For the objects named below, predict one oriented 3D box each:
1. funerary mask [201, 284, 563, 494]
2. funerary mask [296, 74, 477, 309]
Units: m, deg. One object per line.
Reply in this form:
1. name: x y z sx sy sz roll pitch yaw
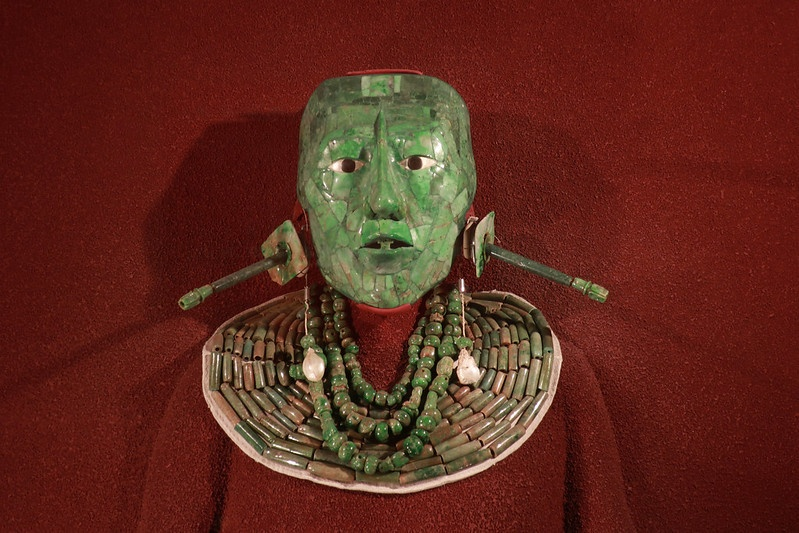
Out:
1. funerary mask: -0.047 0.310 2.429 0.925 0.131 0.534 0 75 3
2. funerary mask: -0.029 -0.185 2.338 0.403 0.279 0.658 -4 71 8
